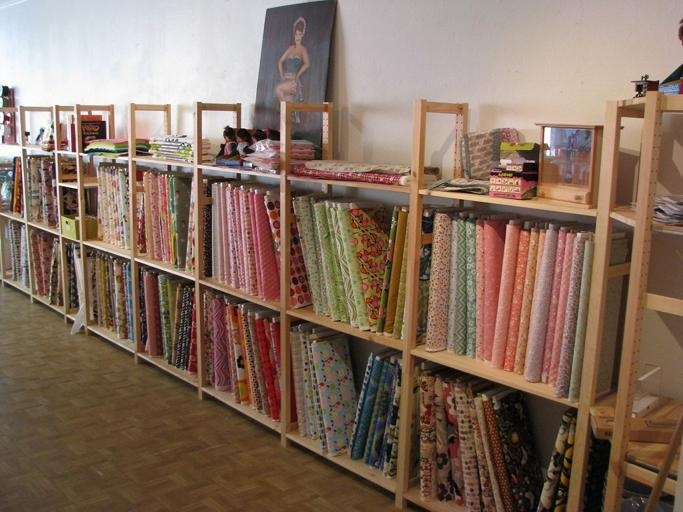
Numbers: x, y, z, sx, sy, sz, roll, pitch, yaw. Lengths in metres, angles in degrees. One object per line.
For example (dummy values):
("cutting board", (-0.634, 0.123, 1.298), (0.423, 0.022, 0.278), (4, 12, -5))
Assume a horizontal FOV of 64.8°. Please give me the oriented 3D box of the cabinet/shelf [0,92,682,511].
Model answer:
("cabinet/shelf", (-0.304, 0.119, 3.183), (4.081, 1.979, 0.809), (12, 17, 36))
